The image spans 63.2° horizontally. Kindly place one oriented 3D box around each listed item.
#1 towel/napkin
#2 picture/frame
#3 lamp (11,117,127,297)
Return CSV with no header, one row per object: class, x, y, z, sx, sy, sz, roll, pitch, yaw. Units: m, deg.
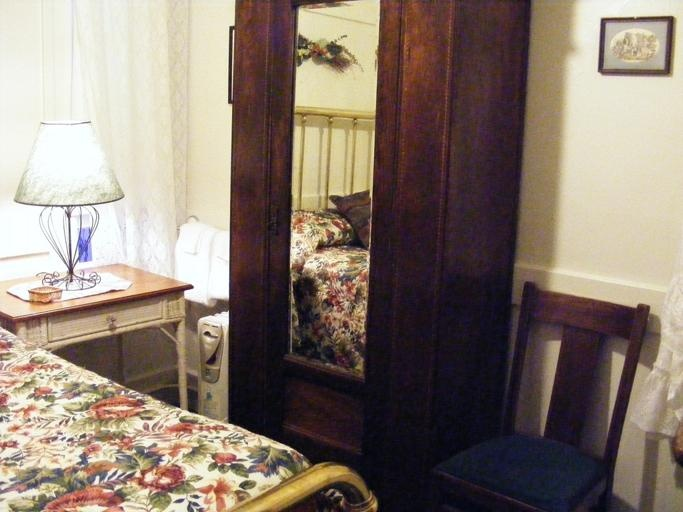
towel/napkin,-0.765,0.035,3.075,0.411,0.427,0.139,19,14,34
picture/frame,1.069,-0.755,1.979,0.223,0.193,0.025,9,15,35
lamp,-1.328,-0.254,2.728,0.454,0.804,0.564,-7,21,-27
